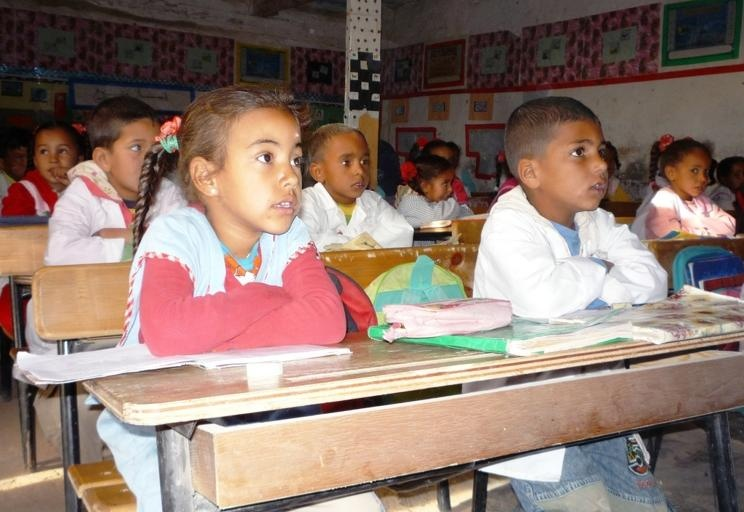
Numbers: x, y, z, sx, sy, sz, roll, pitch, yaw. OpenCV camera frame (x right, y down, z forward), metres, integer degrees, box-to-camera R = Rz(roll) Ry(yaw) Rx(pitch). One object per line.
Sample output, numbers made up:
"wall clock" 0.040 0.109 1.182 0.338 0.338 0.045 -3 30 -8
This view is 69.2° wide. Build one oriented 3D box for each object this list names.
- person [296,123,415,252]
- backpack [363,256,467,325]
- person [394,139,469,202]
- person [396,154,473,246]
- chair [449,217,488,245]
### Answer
"person" -0.096 -0.342 3.089 0.737 0.809 0.693 5 11 15
"backpack" 0.135 0.090 1.524 0.262 0.227 0.121 -8 38 -7
"person" 0.599 -0.906 5.726 0.746 0.753 0.540 1 -9 13
"person" 0.583 -0.548 5.098 0.714 0.871 0.679 4 32 15
"chair" 0.444 -0.120 2.506 0.149 0.105 0.143 -4 8 -25
